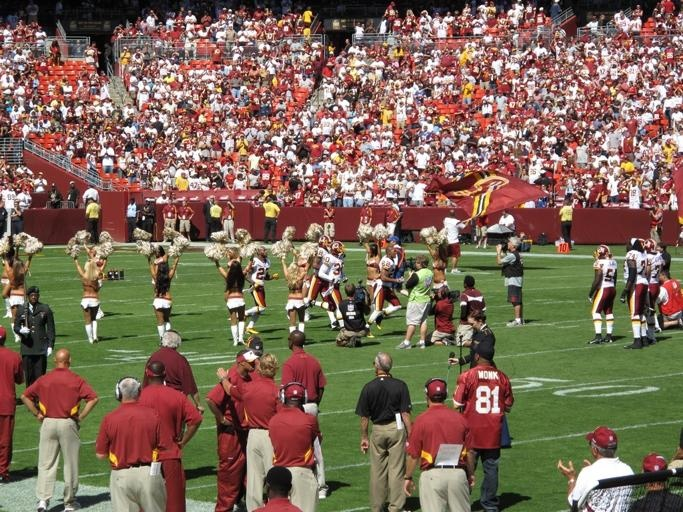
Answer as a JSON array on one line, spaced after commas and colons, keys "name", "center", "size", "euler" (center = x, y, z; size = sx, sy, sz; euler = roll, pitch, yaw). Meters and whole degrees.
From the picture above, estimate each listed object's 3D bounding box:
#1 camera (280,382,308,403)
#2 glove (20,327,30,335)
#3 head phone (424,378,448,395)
[{"name": "camera", "center": [-0.864, 2.397, 24.181], "size": [0.298, 0.206, 0.395], "euler": [2, 13, -8]}, {"name": "glove", "center": [-6.698, 1.603, 29.116], "size": [0.193, 0.170, 0.057], "euler": [-1, 1, -15]}, {"name": "head phone", "center": [1.634, 2.304, 24.169], "size": [0.238, 0.201, 0.339], "euler": [3, 16, 0]}]
